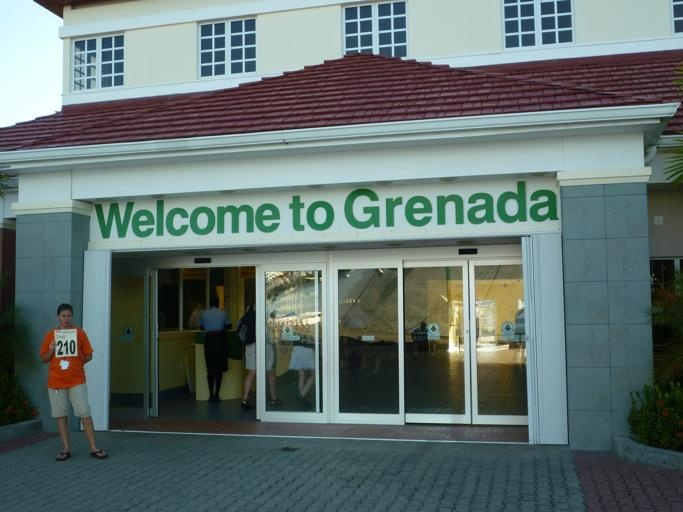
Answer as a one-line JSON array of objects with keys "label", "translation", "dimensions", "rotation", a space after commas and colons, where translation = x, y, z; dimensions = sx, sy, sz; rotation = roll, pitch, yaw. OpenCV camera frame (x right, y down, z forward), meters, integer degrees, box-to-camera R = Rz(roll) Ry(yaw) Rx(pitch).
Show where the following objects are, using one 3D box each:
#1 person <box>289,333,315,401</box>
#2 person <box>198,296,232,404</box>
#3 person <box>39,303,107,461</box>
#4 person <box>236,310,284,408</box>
[{"label": "person", "translation": [-0.726, 2.076, 12.803], "dimensions": [0.495, 1.138, 0.134], "rotation": [-1, 1, 13]}, {"label": "person", "translation": [-2.797, 2.039, 15.187], "dimensions": [0.665, 2.300, 0.482], "rotation": [-1, 1, -9]}, {"label": "person", "translation": [-4.229, 1.951, 10.801], "dimensions": [0.860, 2.385, 0.481], "rotation": [-2, 1, -19]}, {"label": "person", "translation": [-1.667, 1.823, 14.121], "dimensions": [0.860, 2.428, 0.753], "rotation": [-4, 12, -2]}]
